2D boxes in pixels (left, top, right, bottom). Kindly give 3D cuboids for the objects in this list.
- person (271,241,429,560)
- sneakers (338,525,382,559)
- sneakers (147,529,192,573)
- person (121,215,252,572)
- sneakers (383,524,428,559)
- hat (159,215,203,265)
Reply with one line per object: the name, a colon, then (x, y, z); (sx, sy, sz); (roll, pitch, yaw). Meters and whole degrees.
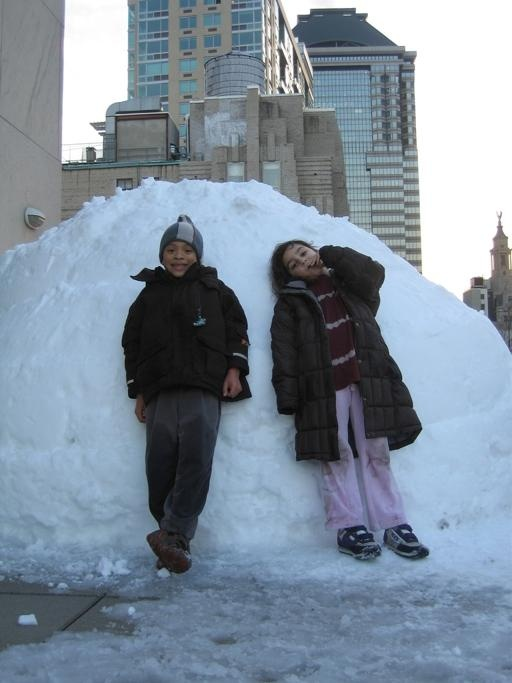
person: (0.404, 0.181, 2.921); (0.674, 1.373, 0.796); (0, 2, 1)
sneakers: (0.414, 0.826, 2.597); (0.079, 0.091, 0.201); (1, -7, -29)
sneakers: (-0.332, 0.770, 2.443); (0.083, 0.189, 0.106); (-26, -28, -48)
person: (-0.285, 0.160, 2.736); (0.563, 1.424, 0.747); (-1, 2, -12)
sneakers: (0.615, 0.838, 2.637); (0.069, 0.080, 0.174); (-1, -1, -35)
hat: (-0.340, -0.486, 3.109); (0.171, 0.222, 0.254); (3, -27, 0)
